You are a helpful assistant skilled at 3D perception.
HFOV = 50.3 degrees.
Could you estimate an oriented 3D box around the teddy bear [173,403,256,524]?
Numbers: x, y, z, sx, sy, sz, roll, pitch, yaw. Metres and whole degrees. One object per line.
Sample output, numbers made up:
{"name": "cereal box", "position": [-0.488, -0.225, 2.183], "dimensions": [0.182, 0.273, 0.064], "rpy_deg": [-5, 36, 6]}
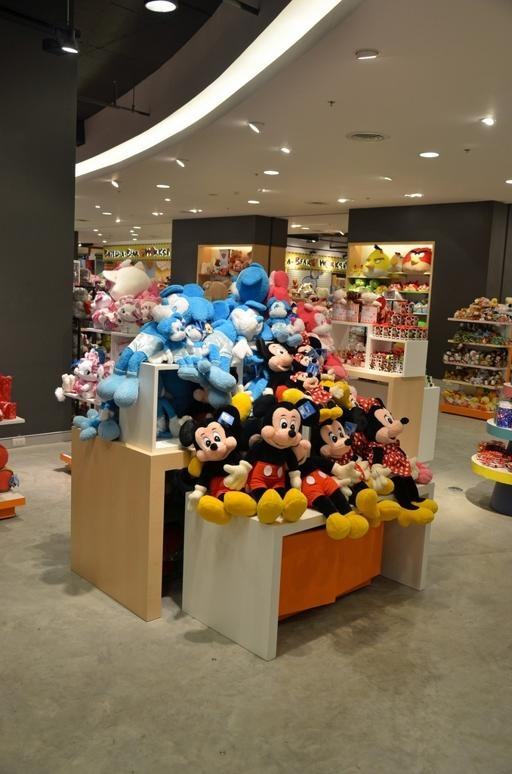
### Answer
{"name": "teddy bear", "position": [-0.138, 0.279, 2.000], "dimensions": [0.253, 0.407, 0.286], "rpy_deg": [-17, 9, -41]}

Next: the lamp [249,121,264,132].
{"name": "lamp", "position": [0.006, -2.699, 5.629], "dimensions": [0.097, 0.029, 0.123], "rpy_deg": [4, -2, -7]}

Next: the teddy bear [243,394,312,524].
{"name": "teddy bear", "position": [0.073, 0.253, 1.979], "dimensions": [0.216, 0.366, 0.450], "rpy_deg": [4, 1, 2]}

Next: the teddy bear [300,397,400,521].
{"name": "teddy bear", "position": [0.359, 0.315, 2.216], "dimensions": [0.308, 0.428, 0.371], "rpy_deg": [-9, 13, -36]}

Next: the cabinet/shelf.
{"name": "cabinet/shelf", "position": [-0.037, 0.213, 2.465], "dimensions": [1.400, 1.120, 1.145], "rpy_deg": [-3, 4, -40]}
